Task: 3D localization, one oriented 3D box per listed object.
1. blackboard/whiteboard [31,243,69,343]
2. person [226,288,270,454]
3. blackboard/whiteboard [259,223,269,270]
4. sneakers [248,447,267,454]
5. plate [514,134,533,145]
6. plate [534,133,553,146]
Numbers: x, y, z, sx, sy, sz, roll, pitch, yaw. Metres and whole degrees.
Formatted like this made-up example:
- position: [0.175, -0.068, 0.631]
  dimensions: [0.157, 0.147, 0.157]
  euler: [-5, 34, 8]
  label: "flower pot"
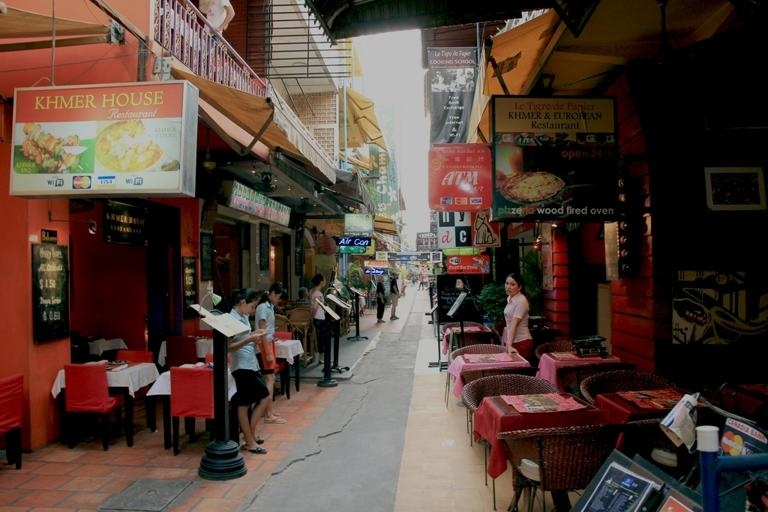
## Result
- position: [-4.640, 0.481, 9.391]
  dimensions: [0.185, 1.380, 0.744]
  euler: [1, 10, 12]
  label: "blackboard/whiteboard"
- position: [-1.825, 1.523, 9.075]
  dimensions: [0.486, 2.166, 0.691]
  euler: [-4, 10, -14]
  label: "person"
- position: [-3.004, -0.235, 16.943]
  dimensions: [0.027, 1.231, 1.209]
  euler: [0, 2, -22]
  label: "blackboard/whiteboard"
- position: [-1.703, 2.596, 9.045]
  dimensions: [0.242, 0.066, 0.089]
  euler: [-2, -4, 16]
  label: "sneakers"
- position: [1.727, -1.436, 8.338]
  dimensions: [0.228, 0.147, 0.059]
  euler: [1, 10, 10]
  label: "plate"
- position: [1.967, -1.428, 8.314]
  dimensions: [0.236, 0.155, 0.065]
  euler: [1, 10, 11]
  label: "plate"
